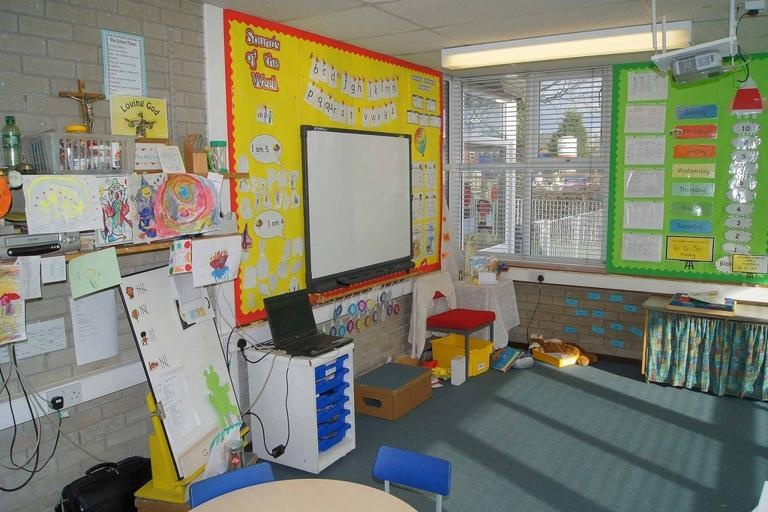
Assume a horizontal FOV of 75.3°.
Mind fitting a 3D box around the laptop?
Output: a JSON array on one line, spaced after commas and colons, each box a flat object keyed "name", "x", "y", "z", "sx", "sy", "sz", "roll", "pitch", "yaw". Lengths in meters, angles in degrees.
[{"name": "laptop", "x": -0.666, "y": 0.591, "z": 4.460, "sx": 0.575, "sy": 0.426, "sz": 0.654, "roll": 6, "pitch": 7, "yaw": 30}]

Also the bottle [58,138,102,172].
[{"name": "bottle", "x": -1.867, "y": -0.613, "z": 3.025, "sx": 0.126, "sy": 0.203, "sz": 0.229, "roll": 2, "pitch": 3, "yaw": 19}]

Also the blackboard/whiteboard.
[{"name": "blackboard/whiteboard", "x": -0.331, "y": -0.518, "z": 5.330, "sx": 0.449, "sy": 1.701, "sz": 1.961, "roll": 3, "pitch": 7, "yaw": 40}]

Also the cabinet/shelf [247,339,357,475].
[{"name": "cabinet/shelf", "x": -0.744, "y": 1.354, "z": 4.597, "sx": 0.841, "sy": 0.943, "sz": 0.789, "roll": -2, "pitch": 1, "yaw": 38}]

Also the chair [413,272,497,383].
[{"name": "chair", "x": 0.796, "y": 0.850, "z": 6.091, "sx": 0.784, "sy": 1.178, "sz": 0.822, "roll": 7, "pitch": 13, "yaw": 36}]

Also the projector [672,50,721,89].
[{"name": "projector", "x": 2.285, "y": -1.382, "z": 3.691, "sx": 0.327, "sy": 0.167, "sz": 0.126, "roll": -5, "pitch": 9, "yaw": 22}]

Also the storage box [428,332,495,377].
[{"name": "storage box", "x": 0.949, "y": 1.223, "z": 6.170, "sx": 0.489, "sy": 0.311, "sz": 0.635, "roll": -8, "pitch": 9, "yaw": -40}]

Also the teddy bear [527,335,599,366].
[{"name": "teddy bear", "x": 2.204, "y": 1.236, "z": 6.430, "sx": 0.389, "sy": 0.172, "sz": 0.567, "roll": -4, "pitch": 7, "yaw": -39}]
